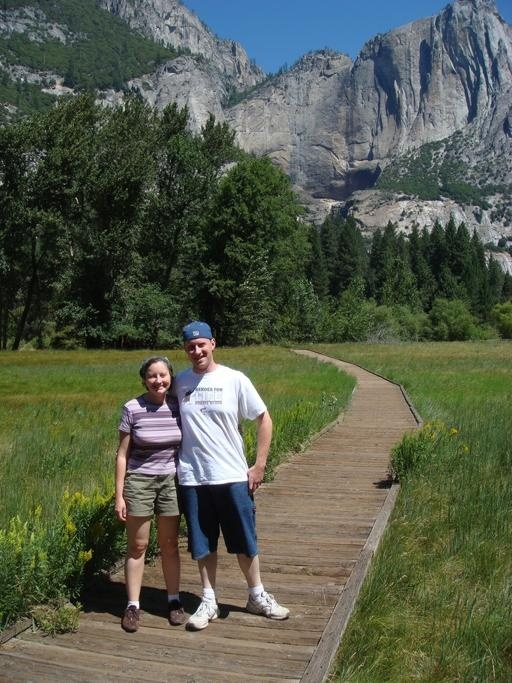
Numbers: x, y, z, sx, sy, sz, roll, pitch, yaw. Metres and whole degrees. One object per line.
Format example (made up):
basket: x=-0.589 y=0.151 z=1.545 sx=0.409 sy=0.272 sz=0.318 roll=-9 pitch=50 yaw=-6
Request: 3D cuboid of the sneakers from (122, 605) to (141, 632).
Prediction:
sneakers: x=-0.787 y=1.712 z=4.183 sx=0.094 sy=0.138 sz=0.110 roll=1 pitch=1 yaw=-13

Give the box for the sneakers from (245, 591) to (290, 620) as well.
sneakers: x=0.078 y=1.716 z=4.425 sx=0.267 sy=0.141 sz=0.133 roll=5 pitch=2 yaw=28

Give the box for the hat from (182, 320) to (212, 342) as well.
hat: x=-0.403 y=-0.072 z=4.538 sx=0.123 sy=0.113 sz=0.178 roll=-7 pitch=15 yaw=1

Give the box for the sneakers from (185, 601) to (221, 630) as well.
sneakers: x=-0.344 y=1.717 z=4.226 sx=0.094 sy=0.116 sz=0.265 roll=-8 pitch=-22 yaw=13

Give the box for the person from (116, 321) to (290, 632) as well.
person: x=-0.186 y=0.829 z=4.447 sx=0.735 sy=1.914 sz=0.545 roll=1 pitch=1 yaw=-8
